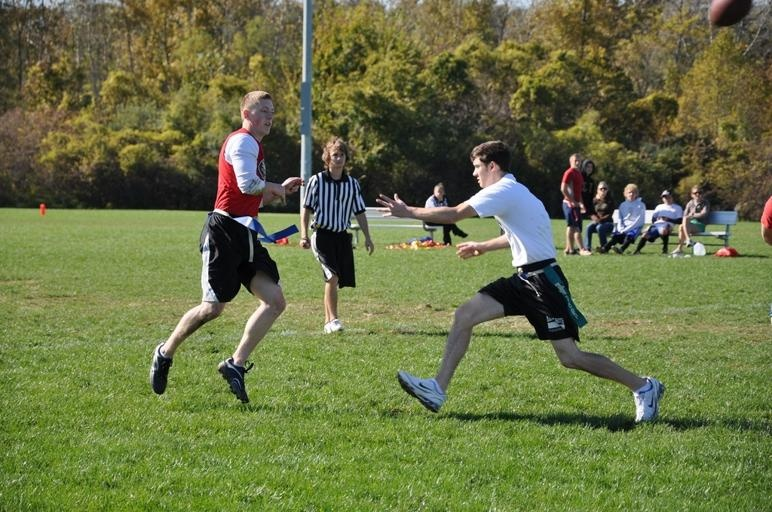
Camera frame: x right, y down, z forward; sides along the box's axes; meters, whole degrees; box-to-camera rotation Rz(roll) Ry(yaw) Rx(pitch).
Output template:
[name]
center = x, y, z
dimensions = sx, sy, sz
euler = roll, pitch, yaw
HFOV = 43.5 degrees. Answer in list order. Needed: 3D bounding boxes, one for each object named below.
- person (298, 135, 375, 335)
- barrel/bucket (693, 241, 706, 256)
[person]
center = -1.143, -0.483, 20.861
dimensions = 1.338, 4.094, 0.978
euler = 2, 6, -3
[barrel/bucket]
center = 9.527, -0.253, 29.504
dimensions = 0.342, 0.345, 0.380
euler = 3, 11, -9
